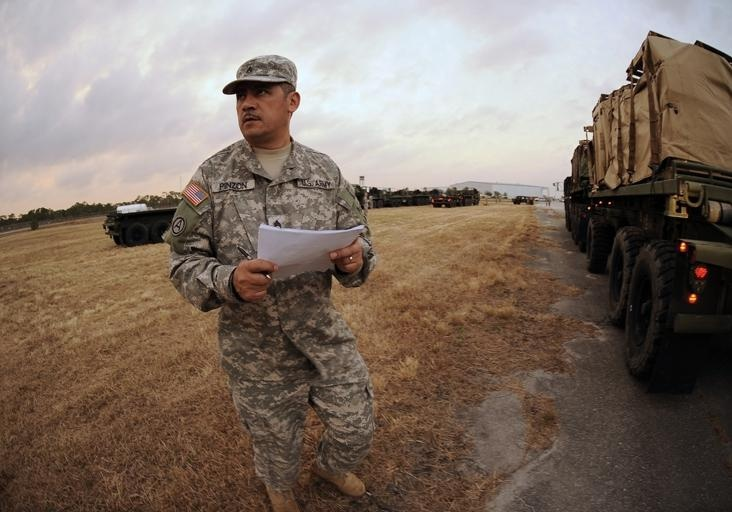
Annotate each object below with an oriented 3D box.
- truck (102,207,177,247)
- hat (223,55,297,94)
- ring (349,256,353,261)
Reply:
[{"bbox_3d":[-7.555,-0.977,13.401,2.224,0.817,1.282,-8,5,-43],"label":"truck"},{"bbox_3d":[-0.748,-1.321,2.960,0.436,0.267,0.536,-4,10,5],"label":"hat"},{"bbox_3d":[-0.108,0.013,2.725,0.027,0.028,0.007,-2,15,-18],"label":"ring"}]
